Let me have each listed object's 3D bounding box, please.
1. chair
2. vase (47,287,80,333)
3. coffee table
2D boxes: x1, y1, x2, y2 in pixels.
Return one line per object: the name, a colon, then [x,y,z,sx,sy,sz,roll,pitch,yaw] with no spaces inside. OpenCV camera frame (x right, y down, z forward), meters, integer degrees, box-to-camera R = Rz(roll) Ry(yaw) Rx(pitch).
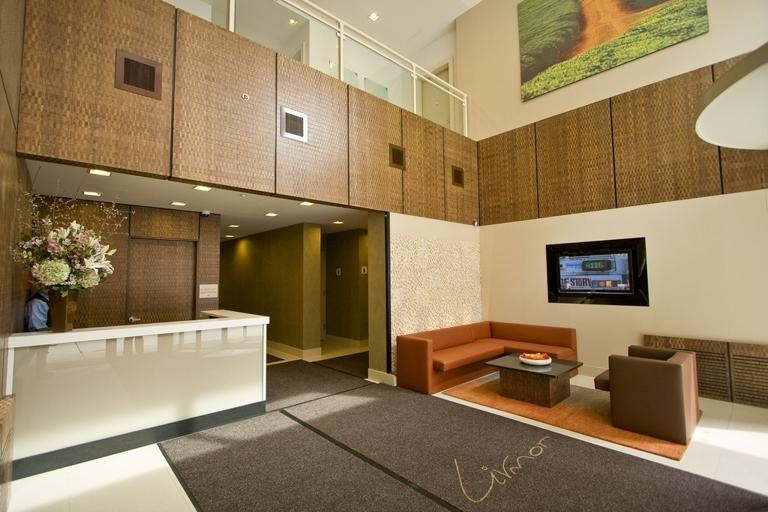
chair: [3.541,1.759,6.904,1.155,0.980,1.077,2,-1,34]
vase: [-3.919,0.672,6.189,0.358,0.519,0.143,-1,0,6]
coffee table: [2.180,2.000,7.877,0.849,0.491,1.106,-2,-17,29]
